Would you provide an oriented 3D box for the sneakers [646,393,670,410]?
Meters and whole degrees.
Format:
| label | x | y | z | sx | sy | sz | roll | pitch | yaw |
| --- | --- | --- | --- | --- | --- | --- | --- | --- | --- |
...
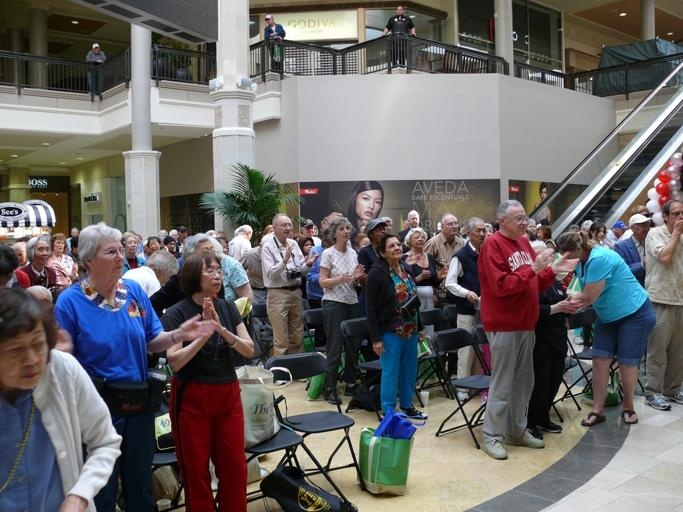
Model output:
| label | x | y | z | sx | sy | sz | roll | pitch | yaw |
| --- | --- | --- | --- | --- | --- | --- | --- | --- | --- |
| sneakers | 3.096 | 1.425 | 6.149 | 0.102 | 0.119 | 0.249 | -3 | 1 | -30 |

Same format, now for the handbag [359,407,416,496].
| label | x | y | z | sx | sy | sz | roll | pitch | yaw |
| --- | --- | --- | --- | --- | --- | --- | --- | --- | --- |
| handbag | 0.310 | 1.487 | 4.956 | 0.456 | 0.794 | 0.539 | 4 | -4 | -6 |

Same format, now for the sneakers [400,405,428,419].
| label | x | y | z | sx | sy | sz | roll | pitch | yaw |
| --- | --- | --- | --- | --- | --- | --- | --- | --- | --- |
| sneakers | 0.708 | 1.503 | 5.995 | 0.307 | 0.149 | 0.129 | 2 | -3 | -2 |

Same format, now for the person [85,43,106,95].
| label | x | y | z | sx | sy | sz | roll | pitch | yaw |
| --- | --- | --- | --- | --- | --- | --- | --- | --- | --- |
| person | -7.174 | -5.538 | 18.366 | 0.540 | 1.577 | 0.759 | -3 | 5 | -22 |

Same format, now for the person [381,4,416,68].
| label | x | y | z | sx | sy | sz | roll | pitch | yaw |
| --- | --- | --- | --- | --- | --- | --- | --- | --- | --- |
| person | 1.566 | -5.888 | 16.646 | 0.757 | 1.917 | 1.522 | -1 | 5 | 7 |

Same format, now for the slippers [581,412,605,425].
| label | x | y | z | sx | sy | sz | roll | pitch | yaw |
| --- | --- | --- | --- | --- | --- | --- | --- | --- | --- |
| slippers | 2.350 | 1.492 | 5.813 | 0.265 | 0.113 | 0.098 | 2 | -9 | -41 |

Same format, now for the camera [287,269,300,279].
| label | x | y | z | sx | sy | sz | roll | pitch | yaw |
| --- | --- | --- | --- | --- | --- | --- | --- | --- | --- |
| camera | -0.553 | 0.207 | 7.409 | 0.151 | 0.131 | 0.084 | 2 | -8 | -31 |

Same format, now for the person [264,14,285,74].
| label | x | y | z | sx | sy | sz | roll | pitch | yaw |
| --- | --- | --- | --- | --- | --- | --- | --- | --- | --- |
| person | -1.752 | -5.692 | 16.713 | 0.495 | 1.719 | 1.083 | -2 | 5 | -6 |

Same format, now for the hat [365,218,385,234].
| label | x | y | z | sx | sy | sz | roll | pitch | yaw |
| --- | --- | --- | --- | --- | --- | --- | --- | --- | --- |
| hat | 0.316 | -0.323 | 6.224 | 0.124 | 0.102 | 0.173 | -2 | -10 | -36 |
